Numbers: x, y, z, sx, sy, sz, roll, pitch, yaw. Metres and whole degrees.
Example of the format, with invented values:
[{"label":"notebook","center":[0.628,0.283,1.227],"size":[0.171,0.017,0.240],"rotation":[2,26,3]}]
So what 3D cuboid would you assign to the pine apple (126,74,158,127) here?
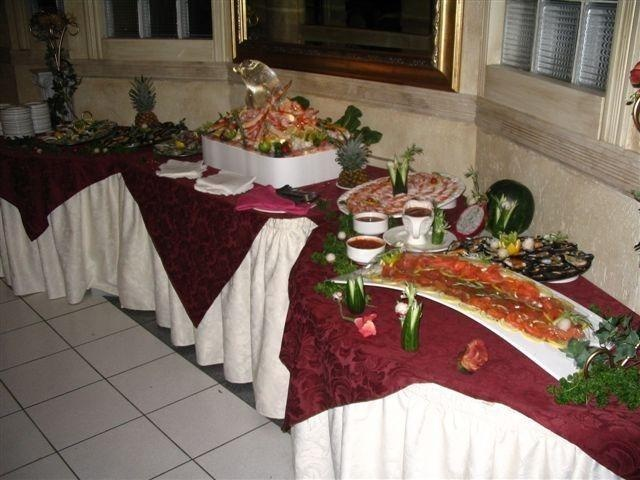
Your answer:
[{"label":"pine apple","center":[-1.399,-1.036,3.613],"size":[0.188,0.515,0.211],"rotation":[0,10,-15]}]

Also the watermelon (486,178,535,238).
[{"label":"watermelon","center":[0.882,-0.162,2.023],"size":[0.219,0.279,0.229],"rotation":[-2,14,32]}]

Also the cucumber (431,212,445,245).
[{"label":"cucumber","center":[0.488,-0.065,1.886],"size":[0.069,0.157,0.069],"rotation":[5,-7,17]}]

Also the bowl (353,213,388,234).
[{"label":"bowl","center":[0.228,-0.076,2.003],"size":[0.110,0.057,0.111],"rotation":[2,23,-1]}]

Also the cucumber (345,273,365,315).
[{"label":"cucumber","center":[0.126,0.195,1.562],"size":[0.071,0.138,0.074],"rotation":[-11,9,-43]}]

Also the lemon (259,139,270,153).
[{"label":"lemon","center":[-0.316,-0.540,2.620],"size":[0.058,0.077,0.066],"rotation":[-2,16,-3]}]
